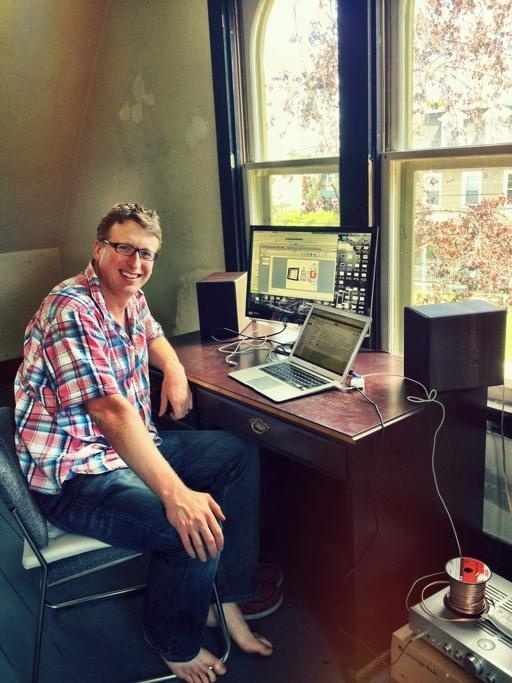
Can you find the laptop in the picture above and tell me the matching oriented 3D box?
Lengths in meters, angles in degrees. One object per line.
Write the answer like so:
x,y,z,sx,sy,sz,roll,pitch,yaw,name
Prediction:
0.131,-0.033,1.448,0.302,0.208,0.303,-4,15,-33,laptop
